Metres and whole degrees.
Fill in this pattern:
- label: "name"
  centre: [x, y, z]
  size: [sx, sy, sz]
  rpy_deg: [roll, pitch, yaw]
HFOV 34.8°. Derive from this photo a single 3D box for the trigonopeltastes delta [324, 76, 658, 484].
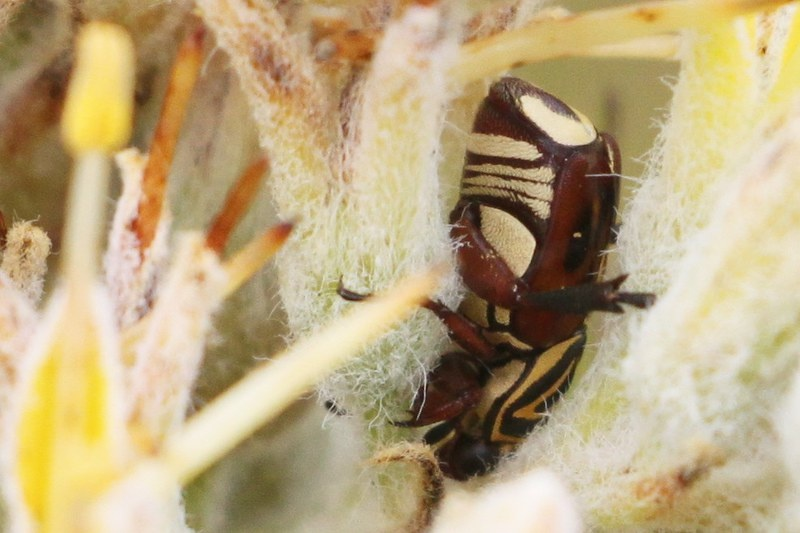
- label: "trigonopeltastes delta"
  centre: [0.095, 0.013, 1.169]
  size: [0.115, 0.306, 0.291]
  rpy_deg: [16, 21, -24]
